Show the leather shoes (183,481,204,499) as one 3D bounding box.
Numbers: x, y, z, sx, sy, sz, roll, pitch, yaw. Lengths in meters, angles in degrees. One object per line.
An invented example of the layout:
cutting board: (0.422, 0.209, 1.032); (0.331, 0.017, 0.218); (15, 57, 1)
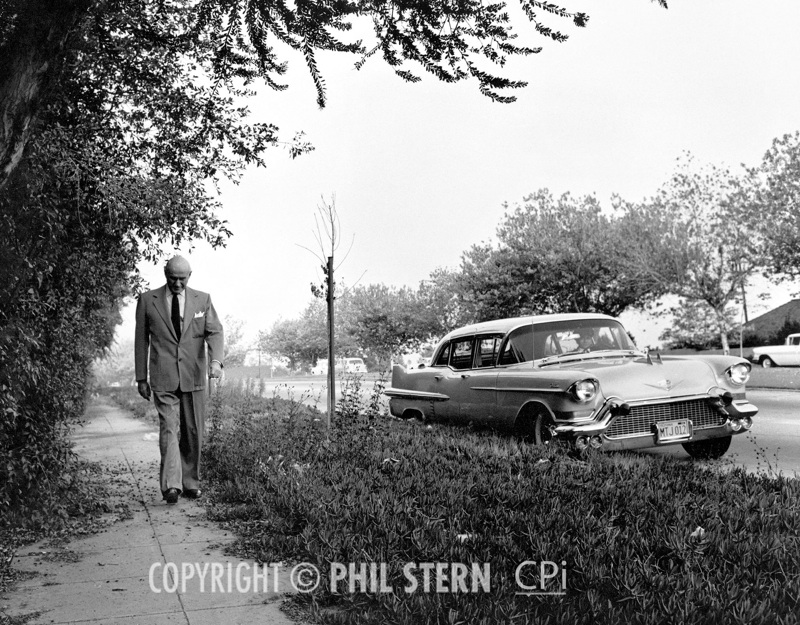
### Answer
leather shoes: (-2.157, 1.860, 7.473); (0.153, 0.181, 0.143); (-3, -6, 13)

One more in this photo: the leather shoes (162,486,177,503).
leather shoes: (-2.296, 1.836, 7.150); (0.161, 0.116, 0.145); (-3, 2, -25)

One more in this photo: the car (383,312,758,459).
car: (2.081, 0.883, 9.735); (2.325, 1.675, 4.760); (-3, 2, -41)

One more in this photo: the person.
person: (-2.283, 0.667, 7.443); (0.899, 1.942, 0.691); (-2, 1, -21)
